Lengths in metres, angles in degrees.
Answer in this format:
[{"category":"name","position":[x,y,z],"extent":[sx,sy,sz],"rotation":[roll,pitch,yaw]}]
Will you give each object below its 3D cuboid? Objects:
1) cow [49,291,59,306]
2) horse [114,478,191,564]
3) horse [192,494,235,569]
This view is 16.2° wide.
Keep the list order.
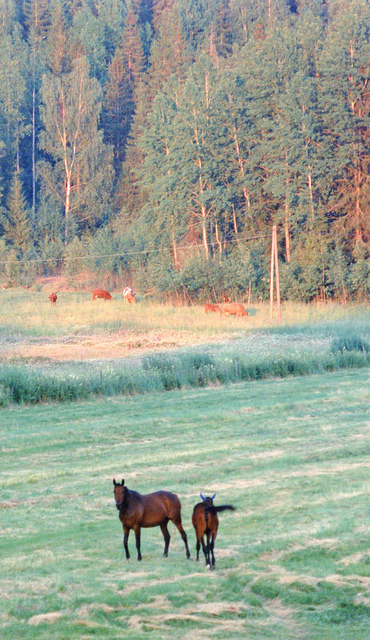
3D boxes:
[{"category":"cow","position":[-7.683,-1.252,76.161],"extent":[0.361,0.801,2.000],"rotation":[-3,10,-7]},{"category":"horse","position":[-1.067,6.027,38.887],"extent":[2.685,2.585,0.737],"rotation":[0,3,-34]},{"category":"horse","position":[0.824,6.404,38.588],"extent":[1.090,2.323,1.264],"rotation":[-3,5,-21]}]
